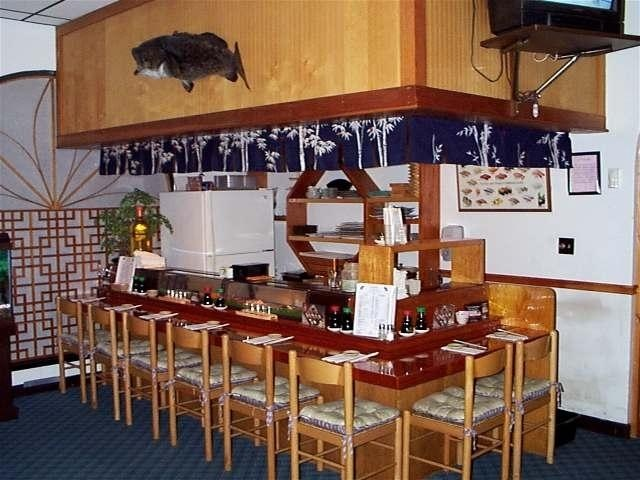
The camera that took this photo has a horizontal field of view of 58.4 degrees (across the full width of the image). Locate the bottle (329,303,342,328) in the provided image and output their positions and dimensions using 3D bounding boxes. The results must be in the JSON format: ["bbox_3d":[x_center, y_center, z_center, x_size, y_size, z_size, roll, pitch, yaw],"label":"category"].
[{"bbox_3d":[0.108,0.567,4.223,0.084,0.167,0.104,0,7,2],"label":"bottle"}]

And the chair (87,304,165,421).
[{"bbox_3d":[-1.993,1.063,5.431,0.736,0.800,0.679,19,-9,-31],"label":"chair"}]

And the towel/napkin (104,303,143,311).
[{"bbox_3d":[-1.876,0.643,5.446,0.106,0.033,0.326,2,0,10],"label":"towel/napkin"}]

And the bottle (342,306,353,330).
[{"bbox_3d":[0.200,0.573,4.187,0.078,0.157,0.112,0,7,2],"label":"bottle"}]

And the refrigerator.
[{"bbox_3d":[-1.192,0.173,6.945,1.205,1.436,1.127,-2,3,19],"label":"refrigerator"}]

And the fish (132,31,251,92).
[{"bbox_3d":[-1.117,-1.512,4.915,1.204,0.504,0.199,4,8,32],"label":"fish"}]

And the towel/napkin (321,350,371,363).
[{"bbox_3d":[0.195,0.791,3.869,0.119,0.026,0.215,-1,0,41],"label":"towel/napkin"}]

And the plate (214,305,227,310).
[{"bbox_3d":[-0.873,0.593,5.009,0.121,0.020,0.081,0,6,0],"label":"plate"}]

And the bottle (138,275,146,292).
[{"bbox_3d":[-1.806,0.453,5.812,0.048,0.142,0.063,-2,7,-17],"label":"bottle"}]

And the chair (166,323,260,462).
[{"bbox_3d":[-0.829,1.154,4.708,0.876,0.998,0.787,-11,-8,12],"label":"chair"}]

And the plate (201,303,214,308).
[{"bbox_3d":[-1.002,0.586,5.089,0.128,0.024,0.069,1,6,12],"label":"plate"}]

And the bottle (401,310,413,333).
[{"bbox_3d":[0.611,0.572,4.076,0.087,0.165,0.129,1,7,7],"label":"bottle"}]

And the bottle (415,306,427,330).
[{"bbox_3d":[0.733,0.563,4.171,0.085,0.161,0.165,1,7,9],"label":"bottle"}]

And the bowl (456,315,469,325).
[{"bbox_3d":[1.097,0.614,4.432,0.080,0.051,0.081,1,-2,0],"label":"bowl"}]

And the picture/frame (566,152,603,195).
[{"bbox_3d":[2.361,-0.602,5.097,0.408,0.482,0.040,7,9,42],"label":"picture/frame"}]

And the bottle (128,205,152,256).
[{"bbox_3d":[-1.952,-0.082,6.303,0.239,0.437,0.225,0,7,0],"label":"bottle"}]

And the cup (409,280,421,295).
[{"bbox_3d":[0.705,0.363,4.328,0.126,0.102,0.090,2,0,4],"label":"cup"}]
